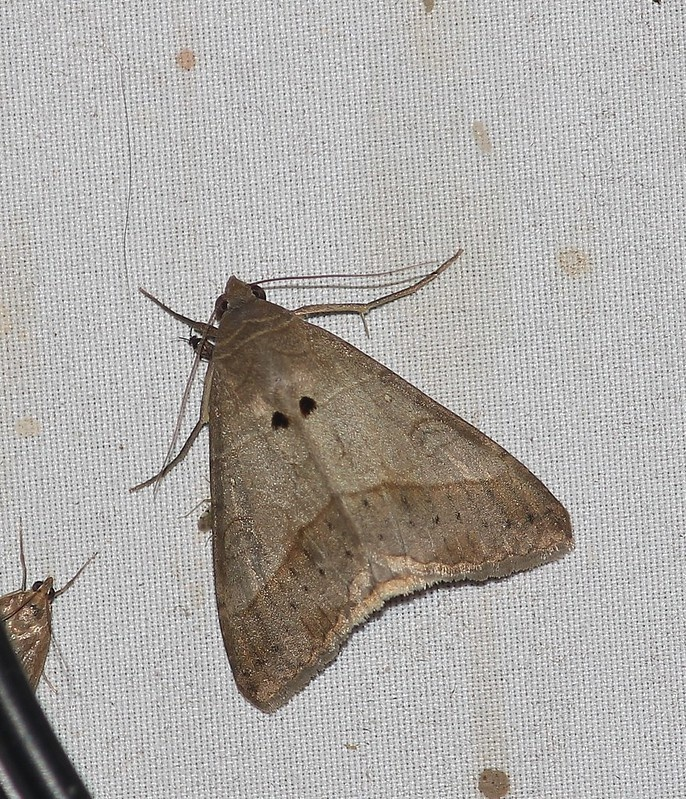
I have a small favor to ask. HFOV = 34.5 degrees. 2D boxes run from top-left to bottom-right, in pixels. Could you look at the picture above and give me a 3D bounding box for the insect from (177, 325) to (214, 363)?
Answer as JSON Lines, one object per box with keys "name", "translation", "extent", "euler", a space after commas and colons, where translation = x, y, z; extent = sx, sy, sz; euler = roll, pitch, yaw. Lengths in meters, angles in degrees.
{"name": "insect", "translation": [-0.297, -0.111, 2.277], "extent": [0.084, 0.022, 0.074], "euler": [23, 35, 17]}
